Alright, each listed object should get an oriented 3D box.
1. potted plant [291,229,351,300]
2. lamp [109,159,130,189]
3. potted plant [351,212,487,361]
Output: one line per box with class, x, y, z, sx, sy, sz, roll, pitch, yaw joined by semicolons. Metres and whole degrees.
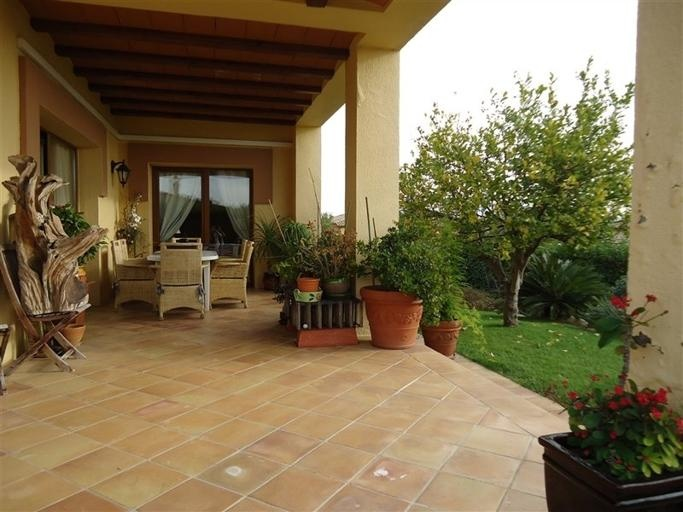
potted plant;-0.169;0.151;5.146;0.934;0.953;0.701;2;-11;-7
lamp;-4.206;-1.564;8.209;0.286;0.492;0.741;-2;5;-23
potted plant;0.895;0.413;4.915;0.977;1.625;1.331;4;6;40
